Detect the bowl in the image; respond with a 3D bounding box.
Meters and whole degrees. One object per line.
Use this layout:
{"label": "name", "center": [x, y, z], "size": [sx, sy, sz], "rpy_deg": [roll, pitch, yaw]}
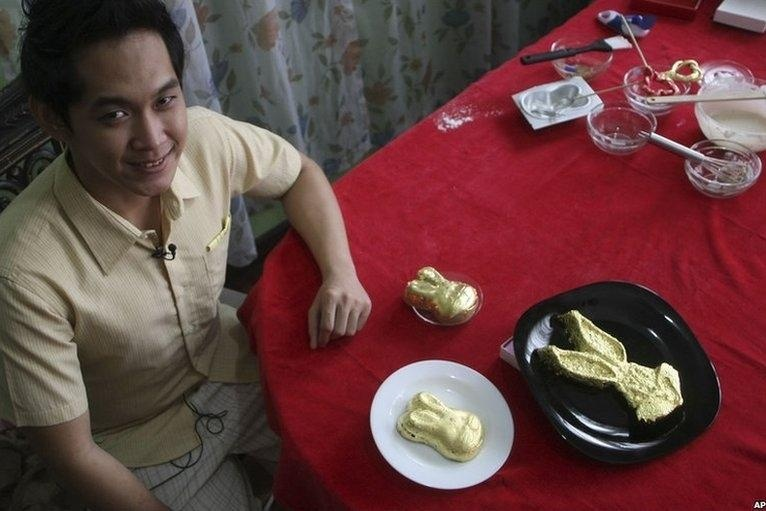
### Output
{"label": "bowl", "center": [0.800, -0.309, 1.487], "size": [0.354, 0.092, 0.384], "rpy_deg": [-4, 57, 7]}
